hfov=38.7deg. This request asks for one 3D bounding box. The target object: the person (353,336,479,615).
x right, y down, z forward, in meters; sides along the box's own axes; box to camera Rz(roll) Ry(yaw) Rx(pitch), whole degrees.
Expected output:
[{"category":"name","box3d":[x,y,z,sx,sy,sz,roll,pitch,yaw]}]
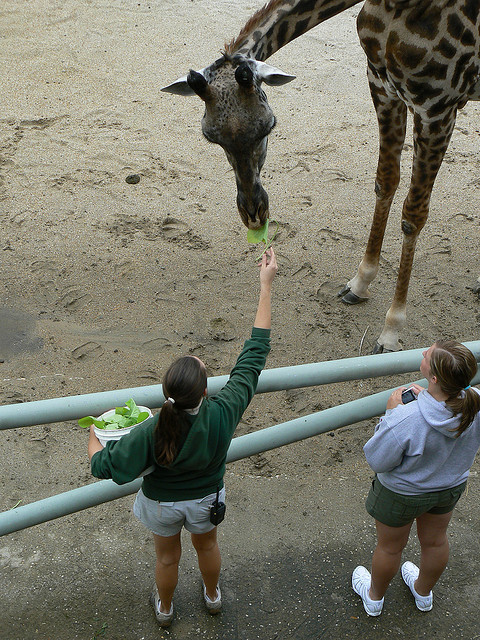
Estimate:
[{"category":"person","box3d":[0.594,0.583,2.375,0.377,1.115,0.252,3,31,2]}]

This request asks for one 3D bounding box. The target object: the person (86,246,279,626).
[{"category":"person","box3d":[-0.182,0.549,2.407,0.376,1.178,0.701,22,36,30]}]

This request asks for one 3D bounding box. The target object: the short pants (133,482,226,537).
[{"category":"short pants","box3d":[-0.217,0.660,2.294,0.299,0.224,0.169,-6,55,-8]}]

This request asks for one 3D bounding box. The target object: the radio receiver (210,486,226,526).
[{"category":"radio receiver","box3d":[-0.077,0.645,2.312,0.041,0.153,0.079,10,31,12]}]
